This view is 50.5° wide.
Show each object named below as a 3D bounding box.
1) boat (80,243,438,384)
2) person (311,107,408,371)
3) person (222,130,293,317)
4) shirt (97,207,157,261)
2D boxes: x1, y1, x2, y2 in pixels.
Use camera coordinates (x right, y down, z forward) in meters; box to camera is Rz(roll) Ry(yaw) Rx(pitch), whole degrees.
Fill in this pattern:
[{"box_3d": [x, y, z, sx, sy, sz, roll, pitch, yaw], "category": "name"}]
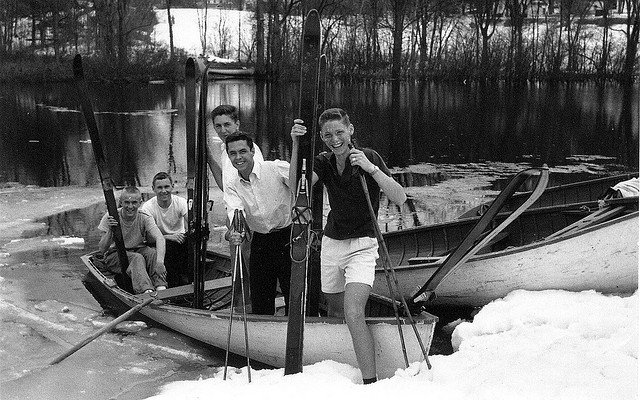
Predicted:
[{"box_3d": [-1.354, 2.153, 11.199, 2.091, 1.064, 6.252, 13, -14, -42], "category": "boat"}, {"box_3d": [0.420, 0.574, 9.015, 1.097, 3.486, 0.907, 1, 12, 4], "category": "person"}, {"box_3d": [-0.850, 0.435, 9.506, 0.931, 2.706, 0.901, -1, 12, -3], "category": "person"}, {"box_3d": [-3.166, 0.534, 11.115, 0.906, 0.809, 0.467, 5, 15, -18], "category": "shirt"}]
